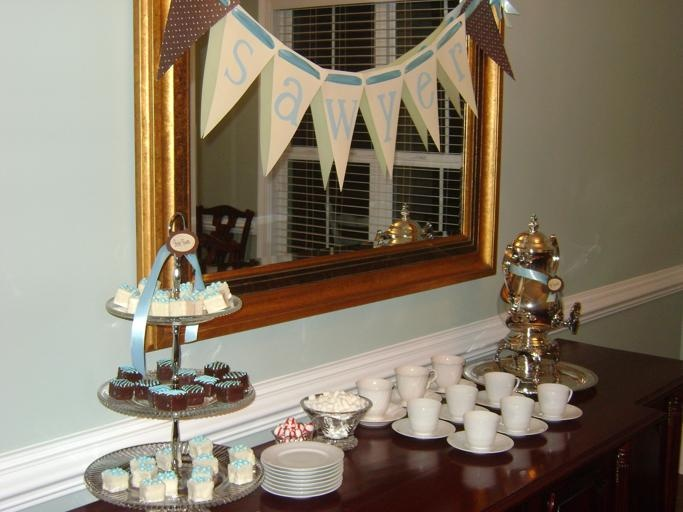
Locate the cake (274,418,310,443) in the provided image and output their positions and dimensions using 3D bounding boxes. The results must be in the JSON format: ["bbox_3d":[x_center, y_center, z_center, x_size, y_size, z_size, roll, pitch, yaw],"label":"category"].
[{"bbox_3d":[-0.120,0.433,1.428,0.069,0.037,0.071,0,-6,2],"label":"cake"}]

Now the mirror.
[{"bbox_3d":[-0.070,-0.233,1.541,1.191,0.828,0.020,-10,13,-41],"label":"mirror"}]

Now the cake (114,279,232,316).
[{"bbox_3d":[-0.332,0.081,1.119,0.238,0.059,0.132,-3,5,-16],"label":"cake"}]

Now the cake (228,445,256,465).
[{"bbox_3d":[-0.214,0.419,1.225,0.049,0.045,0.051,0,-2,45],"label":"cake"}]

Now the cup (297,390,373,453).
[{"bbox_3d":[-0.011,0.412,1.441,0.163,0.097,0.152,2,-7,0],"label":"cup"}]

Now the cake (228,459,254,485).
[{"bbox_3d":[-0.207,0.448,1.205,0.048,0.045,0.049,12,17,39],"label":"cake"}]

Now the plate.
[{"bbox_3d":[-0.081,0.461,1.259,0.129,0.051,0.124,0,0,3],"label":"plate"}]
